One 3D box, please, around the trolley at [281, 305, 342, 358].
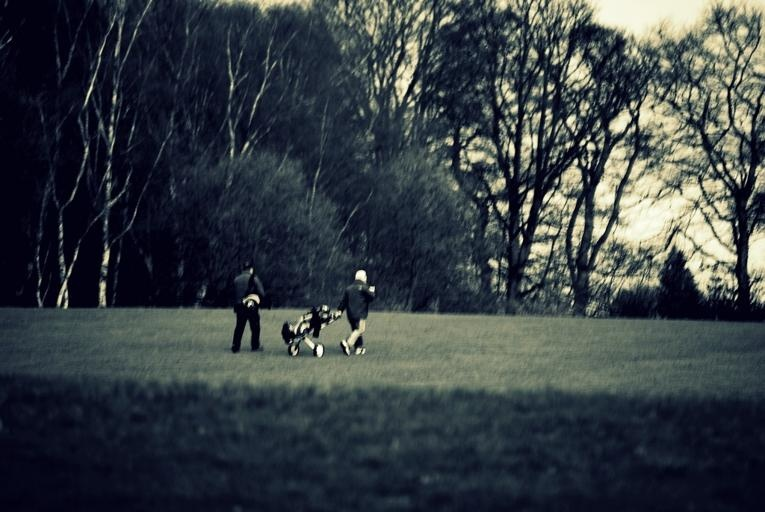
[{"bbox_3d":[-2.836,2.782,43.783,2.244,1.460,1.304,-26,-22,39],"label":"trolley"}]
